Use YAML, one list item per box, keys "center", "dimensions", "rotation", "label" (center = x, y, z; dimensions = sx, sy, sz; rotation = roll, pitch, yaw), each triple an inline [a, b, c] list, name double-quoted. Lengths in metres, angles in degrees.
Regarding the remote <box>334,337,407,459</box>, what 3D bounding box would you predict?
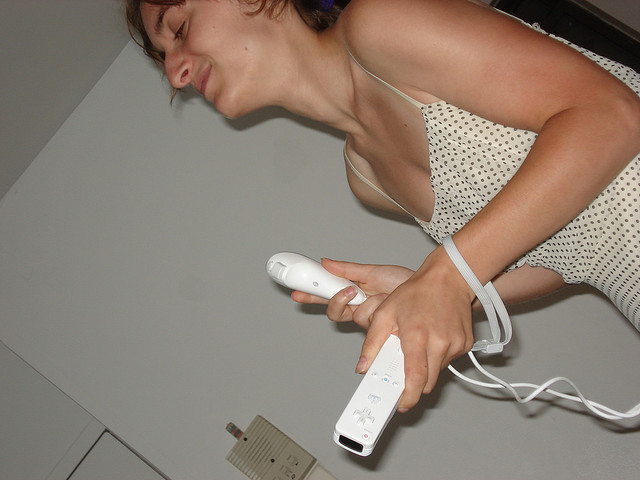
- center: [0.103, 0.256, 0.952]
  dimensions: [0.075, 0.054, 0.225]
  rotation: [25, 82, 17]
  label: "remote"
